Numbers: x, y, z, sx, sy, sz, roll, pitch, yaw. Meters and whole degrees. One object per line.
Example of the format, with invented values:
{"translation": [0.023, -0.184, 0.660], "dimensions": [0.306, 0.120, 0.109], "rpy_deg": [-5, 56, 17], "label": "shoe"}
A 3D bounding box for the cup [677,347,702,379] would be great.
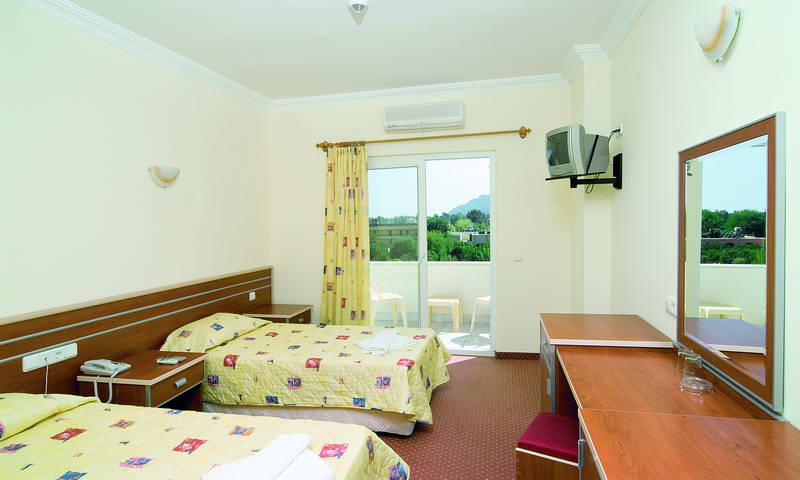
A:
{"translation": [2.000, 0.841, 3.349], "dimensions": [0.133, 0.217, 0.218], "rpy_deg": [-2, -7, 28], "label": "cup"}

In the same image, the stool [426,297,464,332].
{"translation": [0.581, 0.936, 6.194], "dimensions": [0.436, 0.307, 0.411], "rpy_deg": [0, -4, 4], "label": "stool"}

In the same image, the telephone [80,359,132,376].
{"translation": [-2.518, 1.071, 4.124], "dimensions": [0.233, 0.066, 0.178], "rpy_deg": [0, 1, -1], "label": "telephone"}

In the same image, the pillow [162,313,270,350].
{"translation": [-1.856, 0.890, 5.026], "dimensions": [0.888, 0.258, 1.236], "rpy_deg": [0, 0, 22], "label": "pillow"}

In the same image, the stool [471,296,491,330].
{"translation": [0.988, 0.880, 6.133], "dimensions": [0.321, 0.347, 0.393], "rpy_deg": [1, 6, 20], "label": "stool"}

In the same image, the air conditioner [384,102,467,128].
{"translation": [0.293, -1.500, 5.911], "dimensions": [0.978, 0.331, 0.164], "rpy_deg": [0, 0, 9], "label": "air conditioner"}

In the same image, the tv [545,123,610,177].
{"translation": [1.757, -0.844, 4.707], "dimensions": [0.582, 0.398, 0.480], "rpy_deg": [-4, 3, -19], "label": "tv"}

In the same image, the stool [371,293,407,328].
{"translation": [-0.144, 0.904, 6.368], "dimensions": [0.451, 0.394, 0.431], "rpy_deg": [1, -1, 0], "label": "stool"}

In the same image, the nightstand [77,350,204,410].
{"translation": [-2.248, 1.178, 4.258], "dimensions": [0.649, 0.611, 0.724], "rpy_deg": [0, 1, 16], "label": "nightstand"}
